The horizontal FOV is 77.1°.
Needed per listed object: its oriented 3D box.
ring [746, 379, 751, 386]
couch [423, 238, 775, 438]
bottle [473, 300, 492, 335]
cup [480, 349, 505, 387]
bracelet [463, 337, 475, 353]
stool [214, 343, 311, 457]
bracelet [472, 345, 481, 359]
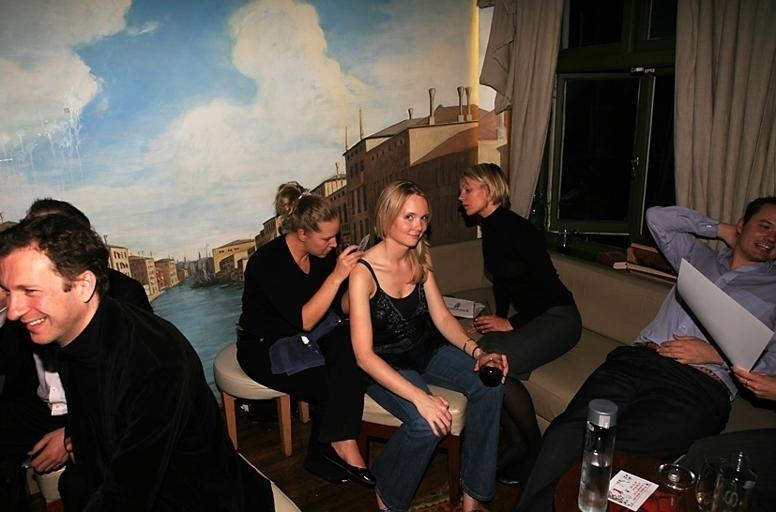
[{"bbox_3d":[1.719,0.606,2.324,0.020,0.018,0.005,9,-10,11],"label":"ring"},{"bbox_3d":[1.201,0.474,2.691,0.410,0.419,1.154,-7,25,-26],"label":"couch"},{"bbox_3d":[0.645,0.419,3.405,0.048,0.175,0.178,10,-2,0],"label":"bottle"},{"bbox_3d":[0.522,0.606,2.469,0.124,0.142,0.096,-2,10,14],"label":"cup"},{"bbox_3d":[0.434,0.481,2.656,0.062,0.065,0.046,-10,55,-49],"label":"bracelet"},{"bbox_3d":[-0.750,0.879,3.097,0.598,0.652,0.593,-3,15,-16],"label":"stool"},{"bbox_3d":[0.470,0.513,2.612,0.021,0.058,0.043,24,-11,-37],"label":"bracelet"}]
